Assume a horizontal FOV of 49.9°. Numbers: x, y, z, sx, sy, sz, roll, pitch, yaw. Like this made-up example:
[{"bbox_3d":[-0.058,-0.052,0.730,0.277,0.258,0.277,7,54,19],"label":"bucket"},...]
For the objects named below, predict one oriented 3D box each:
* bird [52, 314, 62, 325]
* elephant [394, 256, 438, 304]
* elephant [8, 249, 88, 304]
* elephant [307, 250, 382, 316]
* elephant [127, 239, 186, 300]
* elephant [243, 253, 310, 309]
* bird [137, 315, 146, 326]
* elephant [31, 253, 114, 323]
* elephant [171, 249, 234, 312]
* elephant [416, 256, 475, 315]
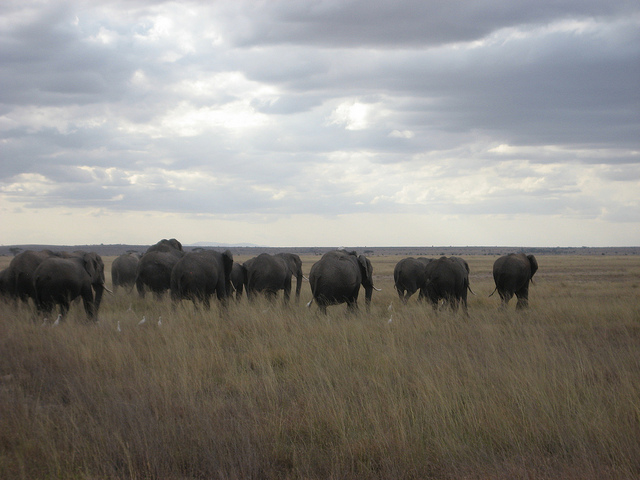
[{"bbox_3d":[-7.170,2.186,18.770,0.076,0.156,0.289,-3,46,20],"label":"bird"},{"bbox_3d":[3.959,1.629,27.481,1.290,2.006,3.445,5,4,34],"label":"elephant"},{"bbox_3d":[-8.371,0.922,20.836,1.080,1.481,2.448,2,15,19],"label":"elephant"},{"bbox_3d":[0.852,1.489,22.487,1.422,2.250,3.838,7,7,37],"label":"elephant"},{"bbox_3d":[-5.733,1.035,25.496,1.403,2.093,3.604,6,16,8],"label":"elephant"},{"bbox_3d":[-1.477,1.594,25.443,1.243,2.241,3.513,5,1,32],"label":"elephant"},{"bbox_3d":[-4.927,2.236,18.980,0.104,0.177,0.328,11,32,13],"label":"bird"},{"bbox_3d":[-7.261,1.557,20.555,1.301,2.117,2.791,6,9,29],"label":"elephant"},{"bbox_3d":[-3.705,1.376,23.010,1.527,2.164,3.660,6,4,20],"label":"elephant"},{"bbox_3d":[4.315,1.483,23.275,1.262,1.694,2.870,4,1,24],"label":"elephant"}]
